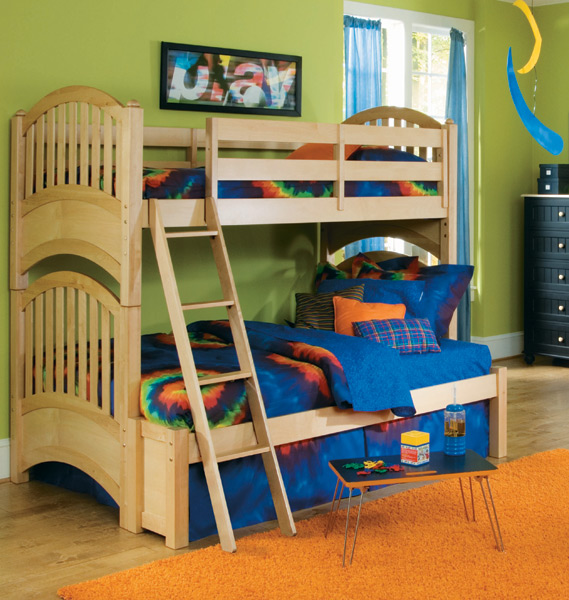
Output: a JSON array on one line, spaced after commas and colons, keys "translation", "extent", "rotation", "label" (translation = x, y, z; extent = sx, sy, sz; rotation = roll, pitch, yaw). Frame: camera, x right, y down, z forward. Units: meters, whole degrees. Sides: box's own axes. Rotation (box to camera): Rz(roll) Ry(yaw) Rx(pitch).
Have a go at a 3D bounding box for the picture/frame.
[{"translation": [-0.304, -1.295, 3.831], "extent": [0.922, 0.348, 0.020], "rotation": [-7, 24, -30], "label": "picture/frame"}]
